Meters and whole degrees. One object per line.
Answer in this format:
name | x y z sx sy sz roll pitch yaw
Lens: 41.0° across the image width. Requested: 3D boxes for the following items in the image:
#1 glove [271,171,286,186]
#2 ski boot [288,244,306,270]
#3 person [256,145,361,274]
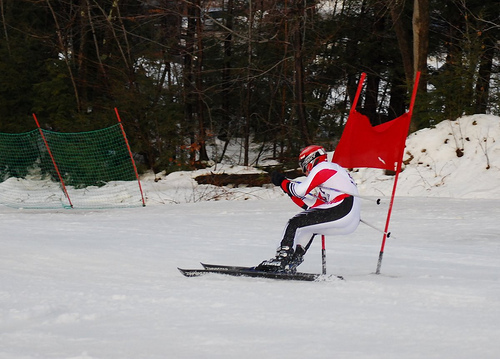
glove | 0.519 -0.008 12.512 0.226 0.271 0.267 -3 9 -7
ski boot | 0.893 1.446 12.562 0.218 0.453 0.309 39 -16 -14
person | 1.194 0.553 12.480 1.667 2.325 0.701 -1 10 6
